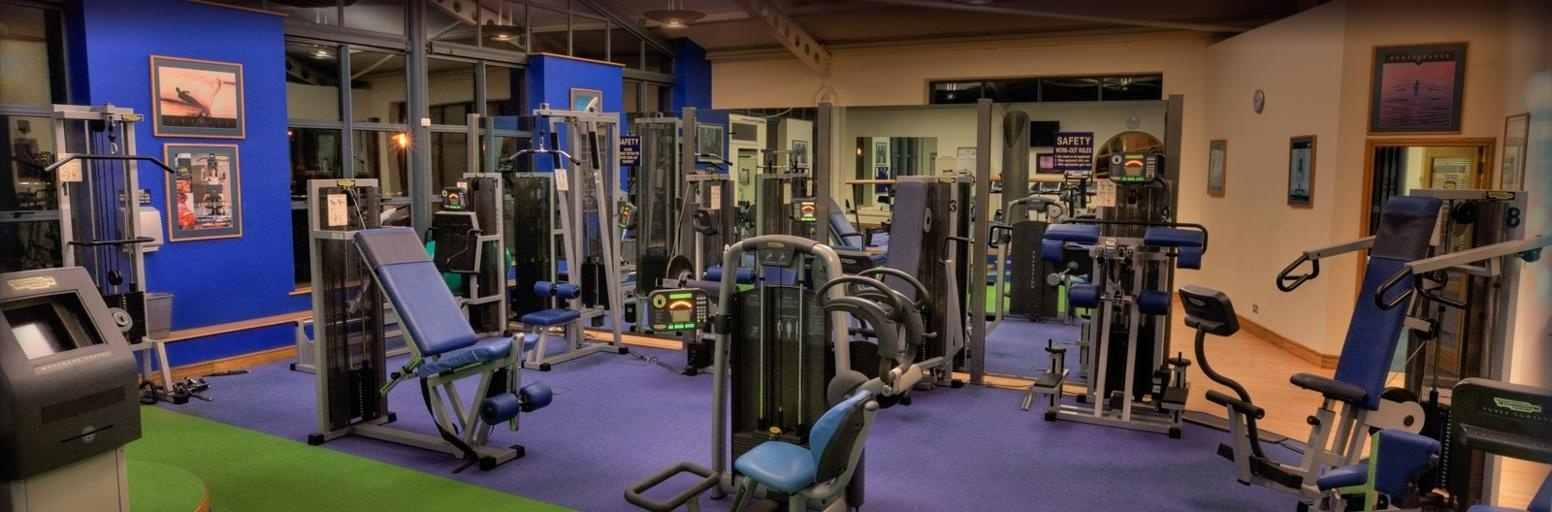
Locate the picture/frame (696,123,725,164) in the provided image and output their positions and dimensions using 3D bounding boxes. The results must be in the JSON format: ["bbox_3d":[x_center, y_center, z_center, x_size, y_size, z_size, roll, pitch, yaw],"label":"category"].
[{"bbox_3d":[-1.599,-2.626,18.769,0.173,0.740,1.504,6,6,34],"label":"picture/frame"}]

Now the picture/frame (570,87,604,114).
[{"bbox_3d":[-4.948,-4.120,20.963,0.302,0.536,0.888,12,15,40],"label":"picture/frame"}]

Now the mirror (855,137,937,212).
[{"bbox_3d":[2.661,-1.883,18.671,3.060,1.353,0.067,-7,14,-37],"label":"mirror"}]

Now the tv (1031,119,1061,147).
[{"bbox_3d":[6.760,-3.089,20.220,0.706,0.684,0.329,4,13,12],"label":"tv"}]
